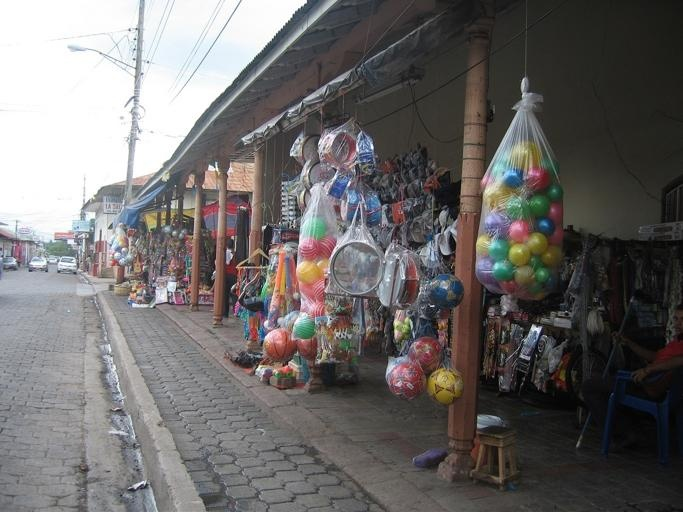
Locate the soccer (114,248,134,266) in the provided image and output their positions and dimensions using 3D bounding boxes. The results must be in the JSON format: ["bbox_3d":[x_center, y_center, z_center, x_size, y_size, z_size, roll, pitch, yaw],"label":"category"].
[{"bbox_3d":[-7.462,0.048,19.036,0.552,0.611,0.480,-4,-6,44],"label":"soccer"}]

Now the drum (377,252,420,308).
[{"bbox_3d":[0.526,0.199,5.300,0.330,0.528,0.352,1,6,0],"label":"drum"}]

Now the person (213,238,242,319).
[{"bbox_3d":[-2.781,0.491,12.863,0.522,1.835,0.588,4,-10,4],"label":"person"}]

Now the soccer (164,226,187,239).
[{"bbox_3d":[-5.278,-0.737,17.596,0.721,0.464,0.263,21,9,42],"label":"soccer"}]

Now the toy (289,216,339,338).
[{"bbox_3d":[-0.327,0.281,6.669,0.419,1.439,0.472,-2,5,-23],"label":"toy"}]

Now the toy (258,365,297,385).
[{"bbox_3d":[-0.864,1.577,7.506,0.335,0.112,0.261,5,-4,-41],"label":"toy"}]

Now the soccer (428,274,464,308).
[{"bbox_3d":[0.853,0.298,4.748,0.257,0.280,0.315,7,38,-21],"label":"soccer"}]

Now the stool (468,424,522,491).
[{"bbox_3d":[1.316,1.656,4.749,0.398,0.484,0.352,2,-1,-32],"label":"stool"}]

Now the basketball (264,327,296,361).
[{"bbox_3d":[-0.779,1.103,7.045,0.384,0.454,0.371,10,25,-9],"label":"basketball"}]

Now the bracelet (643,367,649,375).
[{"bbox_3d":[2.945,1.104,5.332,0.042,0.067,0.016,11,-6,14],"label":"bracelet"}]
